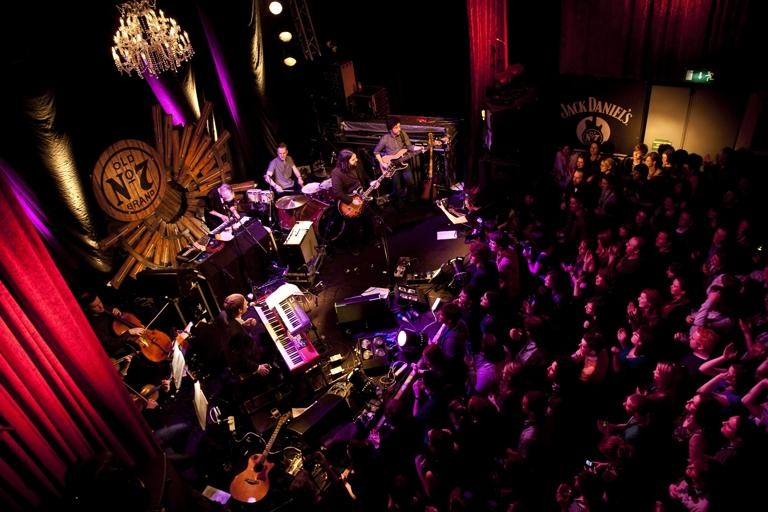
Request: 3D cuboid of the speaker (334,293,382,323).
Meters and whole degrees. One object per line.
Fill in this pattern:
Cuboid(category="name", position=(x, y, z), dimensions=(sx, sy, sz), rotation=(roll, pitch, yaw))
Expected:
Cuboid(category="speaker", position=(-0.504, 0.968, 9.873), dimensions=(0.879, 0.454, 0.569), rotation=(-7, 3, -8))

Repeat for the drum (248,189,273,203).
Cuboid(category="drum", position=(-2.709, -1.309, 12.021), dimensions=(0.426, 0.160, 0.325), rotation=(1, 23, 4))

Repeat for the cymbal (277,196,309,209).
Cuboid(category="cymbal", position=(-1.986, -1.139, 11.738), dimensions=(0.411, 0.091, 0.395), rotation=(-9, 28, -13))

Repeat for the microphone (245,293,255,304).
Cuboid(category="microphone", position=(-2.624, 0.839, 10.780), dimensions=(0.173, 0.240, 0.089), rotation=(-10, -2, 18))

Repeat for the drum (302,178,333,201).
Cuboid(category="drum", position=(-1.473, -1.399, 12.259), dimensions=(0.648, 0.269, 0.487), rotation=(-13, 33, 4))
